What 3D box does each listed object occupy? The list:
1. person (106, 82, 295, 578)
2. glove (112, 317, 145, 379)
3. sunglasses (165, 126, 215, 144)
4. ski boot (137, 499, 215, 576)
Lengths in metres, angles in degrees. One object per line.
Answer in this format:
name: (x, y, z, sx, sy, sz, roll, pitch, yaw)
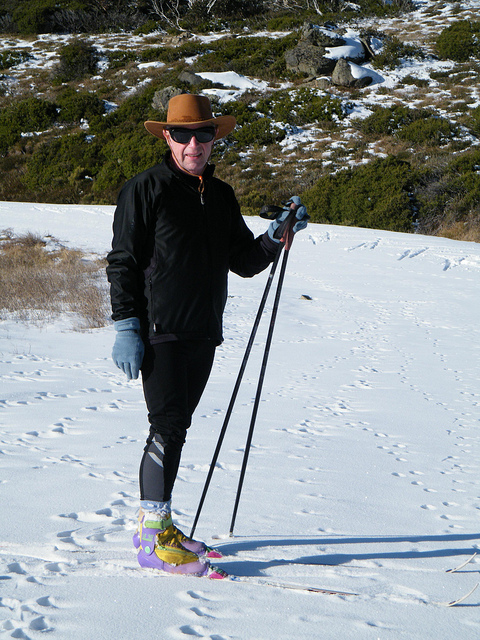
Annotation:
person: (-0.265, 0.028, 5.063, 0.898, 2.433, 1.264, 4, 18, 5)
glove: (-0.592, 0.159, 4.928, 0.170, 0.345, 0.205, 0, 18, -7)
sunglasses: (-0.269, -1.025, 5.069, 0.271, 0.086, 0.111, 1, 17, -4)
ski boot: (-0.366, 1.184, 4.951, 0.456, 0.383, 0.158, 1, -1, 18)
